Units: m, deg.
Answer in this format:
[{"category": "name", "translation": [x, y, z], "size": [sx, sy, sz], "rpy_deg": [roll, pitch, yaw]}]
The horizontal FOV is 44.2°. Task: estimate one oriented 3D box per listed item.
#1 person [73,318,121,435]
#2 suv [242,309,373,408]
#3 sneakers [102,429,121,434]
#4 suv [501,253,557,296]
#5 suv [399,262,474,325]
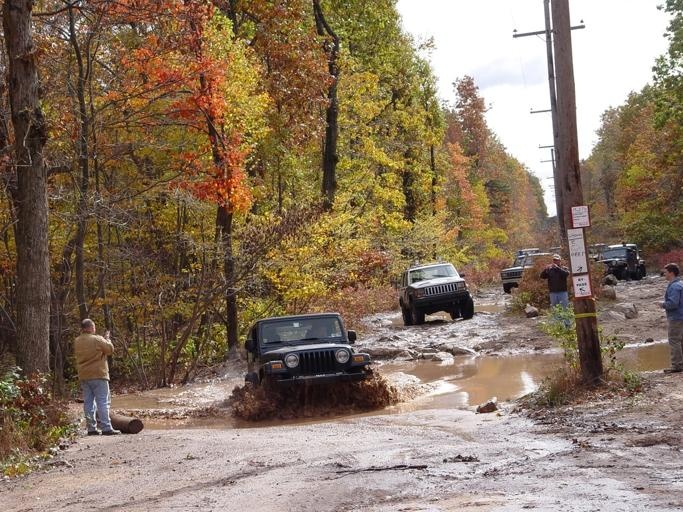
[{"category": "person", "translation": [-5.054, 2.488, 17.300], "size": [0.723, 1.930, 0.407], "rpy_deg": [-7, -2, 0]}, {"category": "suv", "translation": [-1.056, 2.298, 19.152], "size": [1.466, 1.501, 2.711], "rpy_deg": [-5, -14, -17]}, {"category": "sneakers", "translation": [-4.702, 3.606, 17.207], "size": [0.329, 0.168, 0.142], "rpy_deg": [-1, -5, -3]}, {"category": "suv", "translation": [8.885, 0.560, 41.561], "size": [2.207, 2.134, 3.987], "rpy_deg": [-8, -1, 30]}, {"category": "suv", "translation": [3.247, 1.326, 30.928], "size": [1.556, 1.714, 2.953], "rpy_deg": [-5, -9, -8]}]
